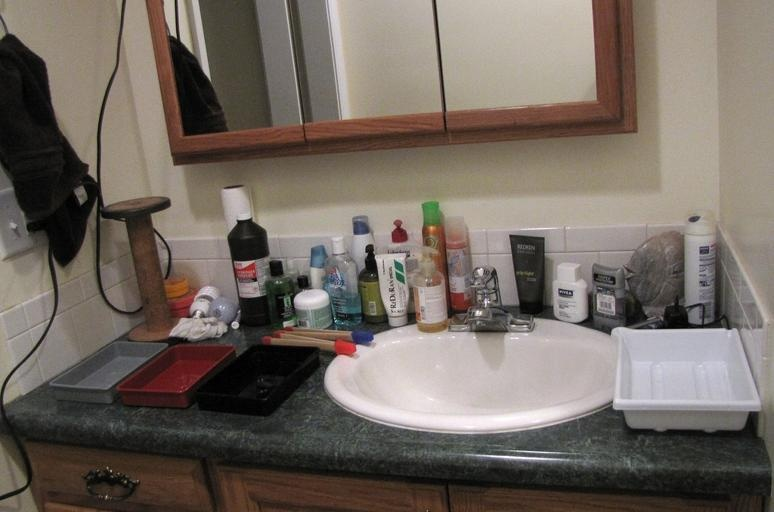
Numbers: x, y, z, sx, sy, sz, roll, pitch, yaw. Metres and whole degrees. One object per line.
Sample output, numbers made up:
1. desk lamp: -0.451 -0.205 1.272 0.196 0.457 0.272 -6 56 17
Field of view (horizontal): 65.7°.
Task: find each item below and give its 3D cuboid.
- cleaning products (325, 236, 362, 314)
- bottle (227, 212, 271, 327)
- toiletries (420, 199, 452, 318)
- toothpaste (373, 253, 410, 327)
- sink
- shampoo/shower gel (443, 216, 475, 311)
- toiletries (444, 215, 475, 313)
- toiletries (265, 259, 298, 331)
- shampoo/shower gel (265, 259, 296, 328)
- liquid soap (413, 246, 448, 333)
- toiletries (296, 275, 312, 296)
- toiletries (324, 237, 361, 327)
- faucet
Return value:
1. cleaning products: -0.135 0.071 1.758 0.102 0.253 0.065 -5 12 -3
2. bottle: -0.417 0.042 1.810 0.126 0.344 0.078 -3 12 7
3. toiletries: 0.169 -0.012 1.765 0.096 0.274 0.101 -5 9 12
4. toothpaste: 0.018 0.098 1.748 0.113 0.198 0.106 -9 25 -24
5. sink: 0.221 0.261 1.673 0.756 0.234 0.732 -1 16 21
6. shampoo/shower gel: 0.203 0.028 1.747 0.070 0.281 0.068 -7 10 -10
7. toiletries: 0.202 0.028 1.747 0.069 0.280 0.070 0 12 33
8. toiletries: -0.326 0.119 1.807 0.089 0.210 0.086 -10 18 -17
9. shampoo/shower gel: -0.306 0.117 1.811 0.083 0.205 0.108 10 22 23
10. liquid soap: 0.119 0.092 1.669 0.094 0.214 0.093 -6 6 6
11. toiletries: -0.248 0.086 1.779 0.050 0.055 0.049 1 18 3
12. toiletries: -0.131 0.074 1.775 0.112 0.261 0.061 9 23 41
13. faucet: 0.288 0.110 1.724 0.219 0.184 0.247 1 18 11
